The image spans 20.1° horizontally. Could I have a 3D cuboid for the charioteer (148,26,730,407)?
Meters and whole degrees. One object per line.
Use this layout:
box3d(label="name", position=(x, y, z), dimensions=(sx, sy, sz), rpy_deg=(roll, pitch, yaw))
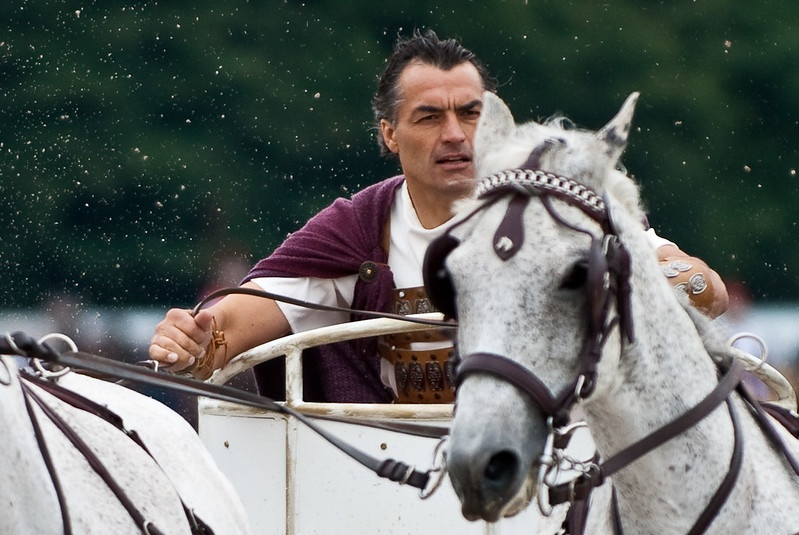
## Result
box3d(label="charioteer", position=(0.383, -0.217, 14.550), dimensions=(3.728, 1.299, 2.376), rpy_deg=(-3, 89, 4))

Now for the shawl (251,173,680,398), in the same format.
box3d(label="shawl", position=(0.223, 0.083, 14.775), dimensions=(2.736, 1.369, 0.630), rpy_deg=(-6, 17, -12))

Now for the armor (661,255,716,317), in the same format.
box3d(label="armor", position=(1.797, 0.106, 13.685), dimensions=(0.146, 0.367, 0.286), rpy_deg=(-47, 41, -5))
